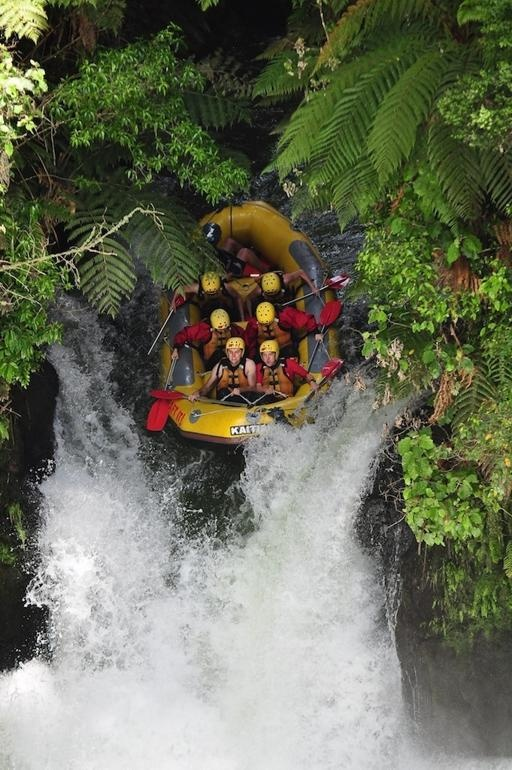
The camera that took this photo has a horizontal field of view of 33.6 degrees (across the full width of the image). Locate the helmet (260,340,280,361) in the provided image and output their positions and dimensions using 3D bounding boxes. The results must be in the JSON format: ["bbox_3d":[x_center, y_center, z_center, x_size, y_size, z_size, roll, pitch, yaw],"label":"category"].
[{"bbox_3d":[0.129,-0.342,8.159,0.138,0.148,0.183,-9,7,16],"label":"helmet"}]

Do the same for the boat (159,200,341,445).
[{"bbox_3d":[-0.129,-0.535,8.311,1.739,0.588,2.416,-2,65,22],"label":"boat"}]

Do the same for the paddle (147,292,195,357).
[{"bbox_3d":[-0.825,-0.576,8.341,0.078,0.782,0.172,22,42,-20],"label":"paddle"}]

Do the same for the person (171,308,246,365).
[{"bbox_3d":[-0.370,-0.428,8.486,0.814,0.575,0.423,-3,22,5],"label":"person"}]

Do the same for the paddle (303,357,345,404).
[{"bbox_3d":[0.624,-0.049,7.776,0.129,0.282,0.484,27,49,22],"label":"paddle"}]

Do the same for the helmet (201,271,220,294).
[{"bbox_3d":[-0.447,-1.003,8.350,0.158,0.195,0.149,-2,9,5],"label":"helmet"}]

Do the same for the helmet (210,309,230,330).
[{"bbox_3d":[-0.358,-0.640,8.404,0.162,0.160,0.195,-36,70,-3],"label":"helmet"}]

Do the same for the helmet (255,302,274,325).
[{"bbox_3d":[0.090,-0.688,8.224,0.169,0.208,0.156,-2,45,-5],"label":"helmet"}]

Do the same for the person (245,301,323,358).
[{"bbox_3d":[0.299,-0.543,8.288,0.551,0.718,0.291,12,72,20],"label":"person"}]

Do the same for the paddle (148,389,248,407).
[{"bbox_3d":[-0.529,0.124,8.017,0.618,0.121,0.339,-2,15,-18],"label":"paddle"}]

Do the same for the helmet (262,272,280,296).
[{"bbox_3d":[0.131,-0.995,8.304,0.161,0.166,0.213,-8,33,0],"label":"helmet"}]
